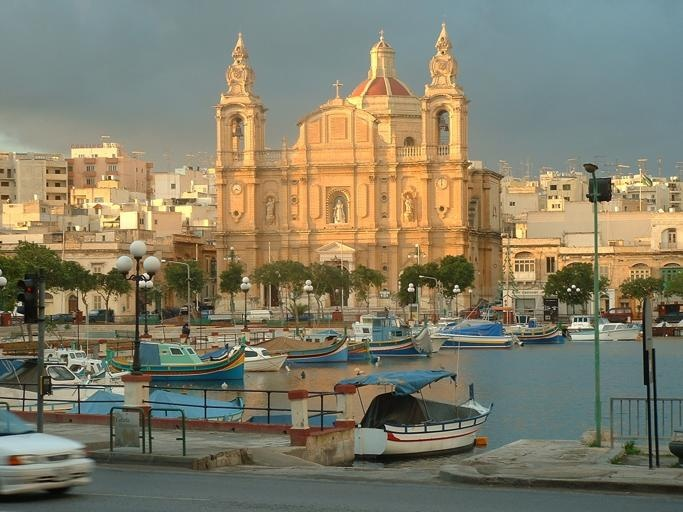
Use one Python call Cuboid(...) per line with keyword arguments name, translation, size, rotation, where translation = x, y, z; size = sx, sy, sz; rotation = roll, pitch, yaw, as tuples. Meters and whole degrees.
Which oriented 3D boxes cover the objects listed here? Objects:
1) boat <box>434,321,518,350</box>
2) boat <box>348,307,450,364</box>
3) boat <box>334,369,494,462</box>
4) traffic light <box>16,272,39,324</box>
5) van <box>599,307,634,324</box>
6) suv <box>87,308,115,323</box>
Cuboid(name="boat", translation=(10.714, 6.669, 118.705), size=(5.317, 1.579, 2.704), rotation=(-2, 3, -2))
Cuboid(name="boat", translation=(3.762, 5.903, 109.315), size=(5.534, 3.404, 6.473), rotation=(-2, -6, 4))
Cuboid(name="boat", translation=(3.364, 6.829, 63.492), size=(2.740, 2.823, 8.493), rotation=(0, -2, 42))
Cuboid(name="traffic light", translation=(-11.425, 1.545, 54.665), size=(0.761, 1.787, 1.005), rotation=(0, -6, -12))
Cuboid(name="van", translation=(26.170, 5.793, 142.340), size=(2.938, 1.250, 1.521), rotation=(3, 0, 6))
Cuboid(name="suv", translation=(-22.280, 5.692, 138.625), size=(2.231, 1.043, 1.558), rotation=(3, 0, 0))
